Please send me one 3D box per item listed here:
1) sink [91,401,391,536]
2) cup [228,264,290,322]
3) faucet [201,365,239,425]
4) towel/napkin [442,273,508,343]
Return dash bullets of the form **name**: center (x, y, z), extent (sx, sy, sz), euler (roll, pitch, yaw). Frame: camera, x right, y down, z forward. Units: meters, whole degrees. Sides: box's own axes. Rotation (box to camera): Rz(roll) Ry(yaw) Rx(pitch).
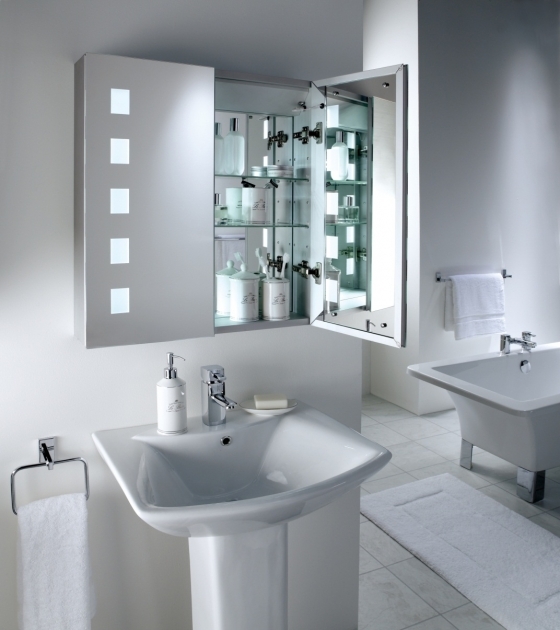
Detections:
- **sink**: center (-0.092, 0.374, 1.283), extent (0.570, 0.171, 0.544), euler (-4, 10, -29)
- **cup**: center (-0.059, -0.060, 1.623), extent (0.182, 0.200, 0.114), euler (-4, 9, -22)
- **faucet**: center (-0.153, 0.217, 1.404), extent (0.045, 0.152, 0.125), euler (-10, 20, -37)
- **towel/napkin**: center (1.292, -0.069, 3.679), extent (0.378, 0.401, 0.151), euler (-4, 4, -18)
